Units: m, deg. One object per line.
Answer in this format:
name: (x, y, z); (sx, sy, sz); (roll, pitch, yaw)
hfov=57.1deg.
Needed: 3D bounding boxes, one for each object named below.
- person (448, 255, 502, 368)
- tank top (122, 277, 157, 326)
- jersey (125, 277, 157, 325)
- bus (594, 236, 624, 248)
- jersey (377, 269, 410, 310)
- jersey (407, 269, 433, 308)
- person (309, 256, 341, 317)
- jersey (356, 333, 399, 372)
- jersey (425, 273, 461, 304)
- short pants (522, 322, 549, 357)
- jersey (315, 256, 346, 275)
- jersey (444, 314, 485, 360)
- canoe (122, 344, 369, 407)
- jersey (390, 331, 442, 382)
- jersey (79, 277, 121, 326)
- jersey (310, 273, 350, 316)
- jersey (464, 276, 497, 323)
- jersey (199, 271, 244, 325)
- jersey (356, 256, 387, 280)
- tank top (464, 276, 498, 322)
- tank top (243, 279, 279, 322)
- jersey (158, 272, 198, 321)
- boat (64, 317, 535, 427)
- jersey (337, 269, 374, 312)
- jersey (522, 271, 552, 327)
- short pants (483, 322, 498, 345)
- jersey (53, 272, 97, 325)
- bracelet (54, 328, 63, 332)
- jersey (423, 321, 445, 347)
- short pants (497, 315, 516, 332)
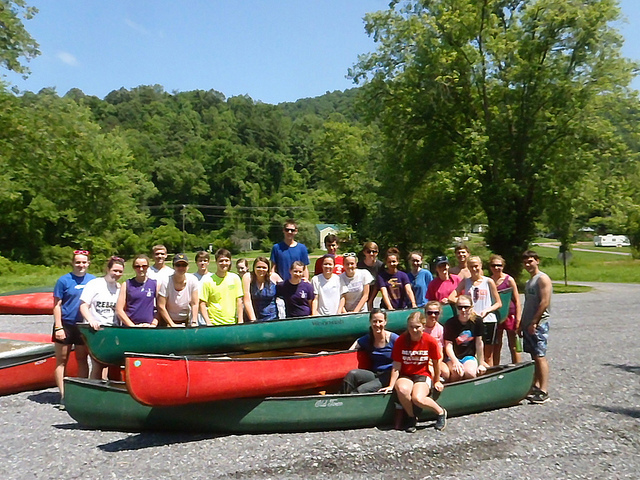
person: (2.491, 1.279, 9.599); (0.865, 1.928, 0.577); (-3, 3, -2)
tank top: (-2.816, 0.959, 9.199); (0.427, 0.747, 0.431); (1, 0, -11)
jersey: (-2.793, 0.980, 9.215); (0.497, 0.723, 0.156); (-3, 9, -18)
bus: (29.432, 0.284, 60.726); (1.932, 0.843, 1.359); (-1, 2, 4)
jersey: (1.336, 0.888, 10.505); (0.628, 0.690, 0.376); (-11, 11, 18)
jersey: (1.722, 0.881, 10.383); (0.633, 0.754, 0.334); (-3, -9, 15)
person: (0.049, 0.806, 10.008); (0.749, 1.012, 0.590); (-5, 11, -33)
jersey: (0.874, 1.732, 8.970); (0.584, 0.522, 0.315); (-7, -3, 2)
jersey: (2.120, 0.883, 10.153); (0.728, 0.563, 0.254); (-9, 25, -5)
short pants: (3.370, 1.591, 9.353); (0.367, 0.596, 0.271); (2, 9, 15)
jersey: (0.194, 0.475, 10.599); (0.583, 0.542, 0.295); (0, 0, -13)
jersey: (2.223, 1.528, 9.233); (0.719, 0.758, 0.275); (-3, 12, -7)
canoe: (-1.044, 2.035, 9.088); (3.792, 0.697, 0.692); (4, 0, -31)
jersey: (1.399, 1.723, 8.785); (0.831, 0.738, 0.449); (1, -5, 11)
jersey: (-3.385, 0.977, 9.093); (0.728, 0.658, 0.452); (7, -7, -39)
jersey: (0.132, 0.943, 10.049); (0.736, 0.732, 0.395); (3, -1, -10)
jersey: (2.544, 0.951, 9.660); (0.496, 0.749, 0.467); (-1, 0, -16)
jersey: (-1.659, 0.959, 9.747); (0.567, 0.862, 0.530); (1, -1, -11)
jersey: (0.872, 0.470, 10.614); (0.591, 0.527, 0.300); (2, -17, -3)
tank top: (2.557, 0.988, 9.565); (0.433, 0.801, 0.290); (-4, 4, 9)
tank top: (-1.037, 1.047, 10.133); (0.582, 0.700, 0.556); (2, -2, -8)
jersey: (-2.260, 0.905, 9.391); (0.612, 0.802, 0.343); (-3, 9, -16)
boat: (-0.409, 2.057, 8.937); (7.437, 1.626, 1.640); (0, -3, -8)
jersey: (0.601, 0.881, 10.370); (0.536, 0.742, 0.491); (1, -1, -15)
jersey: (3.368, 0.941, 9.292); (0.405, 0.878, 0.359); (-1, 1, 25)
short pants: (2.700, 1.512, 9.515); (0.240, 0.302, 0.412); (6, -2, 28)
jersey: (-3.910, 0.941, 9.349); (0.555, 0.853, 0.578); (6, -1, 37)
bracelet: (-3.992, 1.386, 9.025); (0.078, 0.020, 0.079); (-37, -20, 32)
jersey: (1.657, 1.422, 8.825); (0.409, 0.372, 0.230); (2, -33, -5)
short pants: (3.156, 1.428, 9.991); (0.407, 0.284, 0.242); (1, 4, -24)
